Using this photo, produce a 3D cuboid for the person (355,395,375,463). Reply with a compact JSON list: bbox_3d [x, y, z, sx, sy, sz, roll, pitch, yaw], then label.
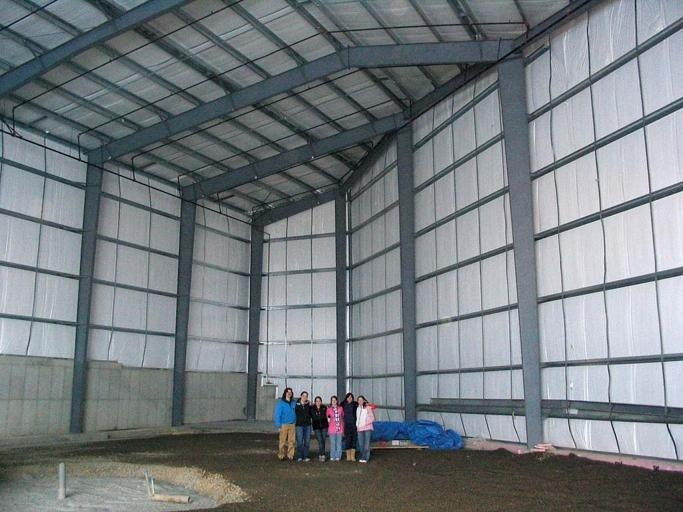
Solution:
[{"bbox_3d":[0.801,5.954,17.150,0.613,2.188,1.185,-2,-14,1],"label":"person"}]
